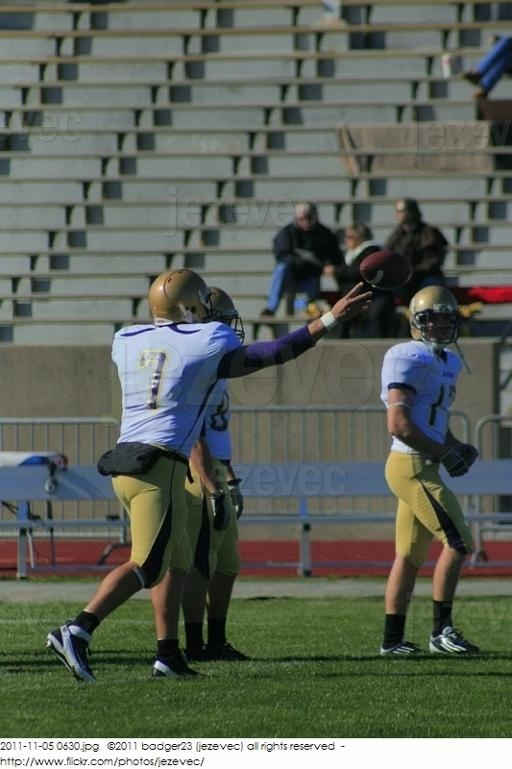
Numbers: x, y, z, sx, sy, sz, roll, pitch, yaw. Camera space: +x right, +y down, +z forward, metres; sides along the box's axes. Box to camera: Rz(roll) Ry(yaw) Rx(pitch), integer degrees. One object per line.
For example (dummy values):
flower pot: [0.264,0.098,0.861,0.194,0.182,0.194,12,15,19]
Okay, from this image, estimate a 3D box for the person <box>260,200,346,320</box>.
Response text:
person: [0.333,-1.061,17.897,0.488,0.990,0.465,5,13,24]

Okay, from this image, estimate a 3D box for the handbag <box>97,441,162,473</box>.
handbag: [-0.758,0.418,12.105,0.261,0.206,0.322,-3,7,-26]

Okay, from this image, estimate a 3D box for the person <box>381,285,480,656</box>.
person: [1.090,0.534,12.950,0.636,2.131,0.564,-1,6,-4]

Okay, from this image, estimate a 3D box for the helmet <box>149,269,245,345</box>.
helmet: [-0.366,-0.498,12.436,0.464,0.562,0.394,6,10,38]

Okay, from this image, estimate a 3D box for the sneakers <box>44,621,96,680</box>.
sneakers: [-1.097,1.529,12.017,0.275,0.367,0.155,-1,15,-7]

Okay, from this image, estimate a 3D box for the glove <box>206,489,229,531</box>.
glove: [-0.239,0.763,12.633,0.118,0.225,0.080,-2,-1,-14]

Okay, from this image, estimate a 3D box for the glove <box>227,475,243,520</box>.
glove: [-0.139,0.698,13.076,0.070,0.232,0.155,-5,-9,1]

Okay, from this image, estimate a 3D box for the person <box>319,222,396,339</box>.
person: [0.886,-0.830,17.717,0.453,1.083,0.410,2,13,19]
